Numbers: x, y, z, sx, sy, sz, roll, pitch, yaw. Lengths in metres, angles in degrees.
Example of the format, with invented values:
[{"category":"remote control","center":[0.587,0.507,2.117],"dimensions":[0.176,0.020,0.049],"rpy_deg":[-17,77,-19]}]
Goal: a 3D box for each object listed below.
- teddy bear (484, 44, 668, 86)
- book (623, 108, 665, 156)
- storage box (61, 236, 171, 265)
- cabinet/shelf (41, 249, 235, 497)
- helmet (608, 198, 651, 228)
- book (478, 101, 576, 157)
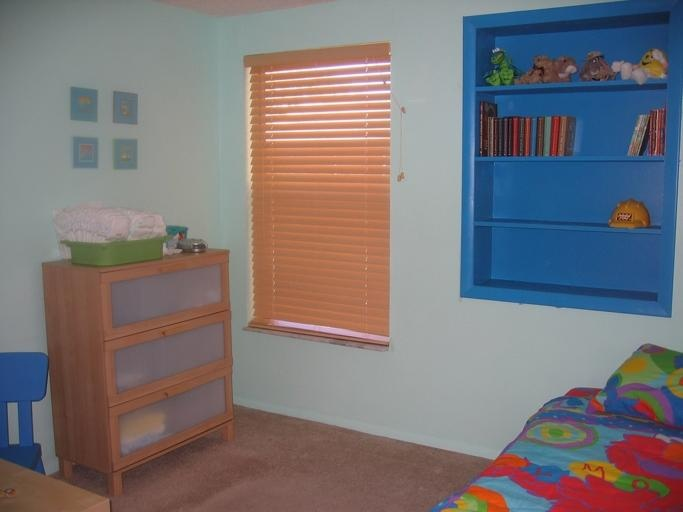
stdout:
[{"category":"teddy bear","center":[1.365,-1.117,3.029],"dimensions":[0.978,0.226,0.306],"rpy_deg":[7,12,21]},{"category":"book","center":[1.711,-0.676,2.820],"dimensions":[0.169,0.260,0.102],"rpy_deg":[7,11,22]},{"category":"storage box","center":[-1.327,-0.029,2.986],"dimensions":[0.566,0.149,0.226],"rpy_deg":[-3,12,-27]},{"category":"cabinet/shelf","center":[-1.295,0.674,3.329],"dimensions":[0.620,1.294,0.987],"rpy_deg":[-1,3,26]},{"category":"helmet","center":[1.644,-0.239,2.903],"dimensions":[0.161,0.122,0.207],"rpy_deg":[2,4,43]},{"category":"book","center":[1.138,-0.770,3.133],"dimensions":[0.562,0.323,0.172],"rpy_deg":[9,12,29]}]
